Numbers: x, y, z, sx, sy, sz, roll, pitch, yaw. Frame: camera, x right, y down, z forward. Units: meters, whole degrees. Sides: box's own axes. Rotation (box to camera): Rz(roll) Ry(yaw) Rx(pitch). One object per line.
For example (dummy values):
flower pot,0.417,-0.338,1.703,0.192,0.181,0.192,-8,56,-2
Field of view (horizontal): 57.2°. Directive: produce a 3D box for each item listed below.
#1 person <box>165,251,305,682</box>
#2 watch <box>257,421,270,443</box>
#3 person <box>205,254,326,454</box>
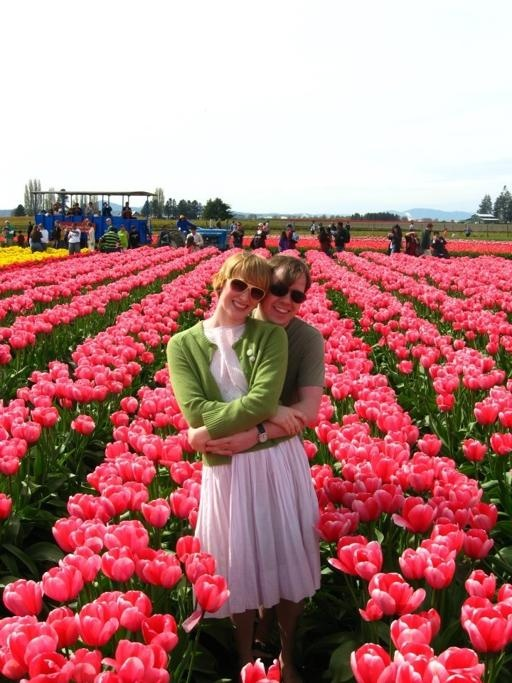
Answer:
person,-0.061,0.506,2.010,0.644,1.747,0.482,0,9,7
watch,0.028,0.373,1.935,0.044,0.077,0.070,-5,29,-13
person,-0.075,0.104,2.112,0.567,0.958,0.526,-5,3,-9
